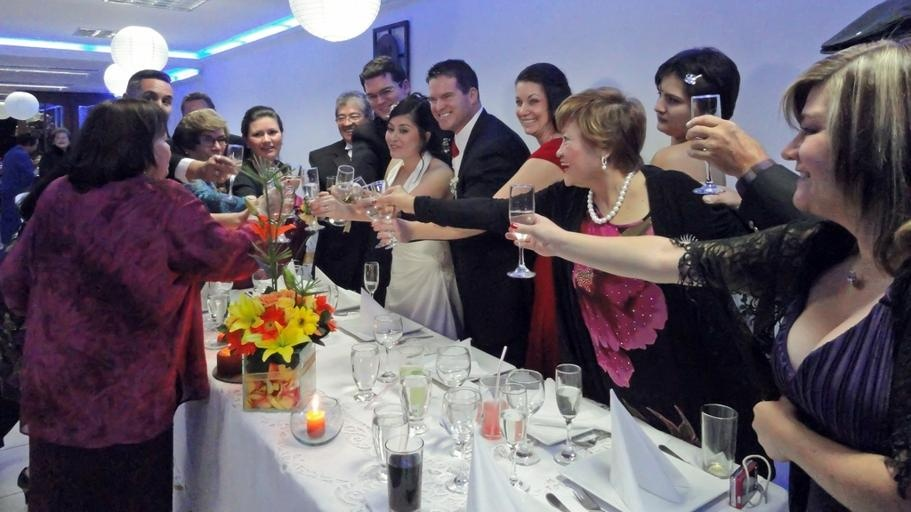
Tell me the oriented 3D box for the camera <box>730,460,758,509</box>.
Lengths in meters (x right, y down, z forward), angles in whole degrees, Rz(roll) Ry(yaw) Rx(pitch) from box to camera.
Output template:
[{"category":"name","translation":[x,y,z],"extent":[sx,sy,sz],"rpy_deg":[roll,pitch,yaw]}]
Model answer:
[{"category":"camera","translation":[1.141,0.884,2.500],"extent":[0.174,0.174,0.057],"rpy_deg":[-5,4,-39]}]

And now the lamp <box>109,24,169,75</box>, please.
[{"category":"lamp","translation":[-3.286,-2.105,6.645],"extent":[0.536,0.553,0.527],"rpy_deg":[7,14,31]}]

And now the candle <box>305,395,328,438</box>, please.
[{"category":"candle","translation":[-0.612,0.709,2.798],"extent":[0.144,0.167,0.137],"rpy_deg":[-2,0,-17]}]

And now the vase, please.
[{"category":"vase","translation":[-0.806,0.560,3.027],"extent":[0.355,0.236,0.340],"rpy_deg":[0,2,6]}]
